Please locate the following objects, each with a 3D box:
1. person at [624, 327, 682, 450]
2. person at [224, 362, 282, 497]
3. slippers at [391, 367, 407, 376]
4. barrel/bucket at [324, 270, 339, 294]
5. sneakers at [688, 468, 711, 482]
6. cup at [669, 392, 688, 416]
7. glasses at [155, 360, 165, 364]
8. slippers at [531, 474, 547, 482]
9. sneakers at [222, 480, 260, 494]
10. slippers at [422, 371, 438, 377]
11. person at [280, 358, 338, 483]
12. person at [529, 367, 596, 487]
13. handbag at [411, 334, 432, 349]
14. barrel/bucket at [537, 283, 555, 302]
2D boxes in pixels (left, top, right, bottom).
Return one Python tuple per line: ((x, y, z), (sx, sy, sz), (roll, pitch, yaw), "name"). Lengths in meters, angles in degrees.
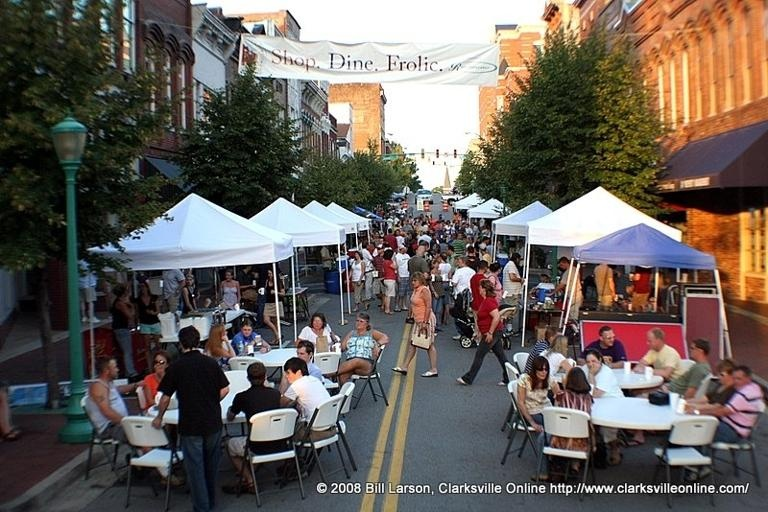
((5.324, 2.480, 11.088), (1.387, 2.001, 0.785), (-5, 0, -13), "person")
((-2.075, 2.675, 8.747), (0.977, 2.057, 0.638), (-3, 10, -11), "person")
((0.392, 2.854, 13.972), (0.359, 0.130, 0.139), (9, 6, 17), "slippers")
((-2.628, 1.156, 25.970), (0.964, 1.074, 0.982), (-1, 2, 0), "barrel/bucket")
((5.029, 3.443, 8.870), (0.279, 0.111, 0.234), (-4, -1, 18), "sneakers")
((4.846, 2.412, 9.103), (0.197, 0.271, 0.294), (1, 5, 3), "cup")
((-3.798, 1.793, 9.508), (0.073, 0.022, 0.071), (2, 28, -4), "glasses")
((2.489, 3.508, 8.909), (0.233, 0.092, 0.122), (3, 1, 11), "slippers")
((-2.272, 3.654, 8.797), (0.617, 0.183, 0.240), (3, 1, 14), "sneakers")
((1.138, 2.897, 13.786), (0.315, 0.100, 0.164), (2, -6, -21), "slippers")
((-1.243, 2.608, 9.201), (0.842, 1.876, 0.737), (-1, 10, 0), "person")
((2.964, 2.683, 8.889), (0.783, 1.772, 0.733), (3, 11, 20), "person")
((0.916, 2.002, 13.299), (0.336, 0.334, 0.128), (8, 15, 6), "handbag")
((4.923, 1.076, 16.931), (0.438, 0.590, 0.606), (3, 6, 14), "barrel/bucket")
